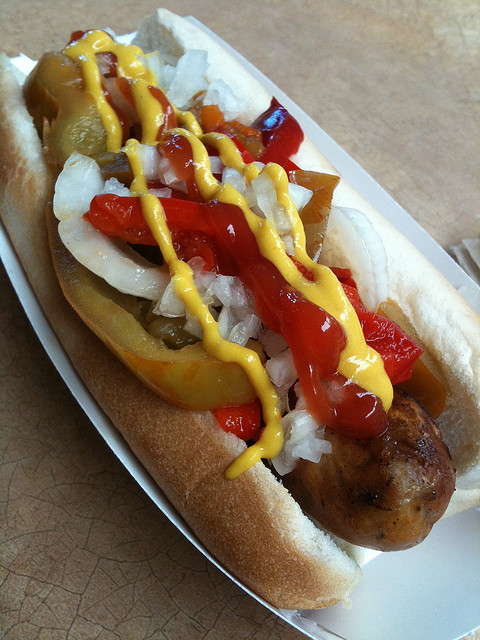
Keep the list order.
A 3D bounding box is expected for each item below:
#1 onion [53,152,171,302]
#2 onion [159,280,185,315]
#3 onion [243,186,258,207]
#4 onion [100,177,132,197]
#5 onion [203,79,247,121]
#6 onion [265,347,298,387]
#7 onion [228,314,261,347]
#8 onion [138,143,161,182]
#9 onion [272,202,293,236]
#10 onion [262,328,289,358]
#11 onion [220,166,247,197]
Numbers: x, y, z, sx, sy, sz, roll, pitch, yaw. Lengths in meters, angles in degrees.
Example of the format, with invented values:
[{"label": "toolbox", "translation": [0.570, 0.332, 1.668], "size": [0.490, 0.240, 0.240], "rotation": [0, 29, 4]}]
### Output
[{"label": "onion", "translation": [-0.257, -0.167, 1.187], "size": [0.282, 0.189, 0.063], "rotation": [50, 38, 15]}, {"label": "onion", "translation": [-0.116, -0.034, 1.108], "size": [0.032, 0.044, 0.048], "rotation": [-26, 72, -27]}, {"label": "onion", "translation": [0.019, -0.215, 1.161], "size": [0.013, 0.034, 0.031], "rotation": [-8, 69, -10]}, {"label": "onion", "translation": [-0.226, -0.234, 1.208], "size": [0.054, 0.014, 0.042], "rotation": [2, 53, -2]}, {"label": "onion", "translation": [-0.036, -0.525, 1.584], "size": [0.113, 0.042, 0.094], "rotation": [53, 33, 1]}, {"label": "onion", "translation": [0.078, 0.081, 1.107], "size": [0.053, 0.018, 0.064], "rotation": [-2, 75, -5]}, {"label": "onion", "translation": [0.007, 0.017, 1.122], "size": [0.034, 0.024, 0.065], "rotation": [33, 57, 4]}, {"label": "onion", "translation": [-0.171, -0.298, 1.251], "size": [0.043, 0.024, 0.067], "rotation": [-12, 78, -12]}, {"label": "onion", "translation": [0.070, -0.174, 1.139], "size": [0.033, 0.017, 0.048], "rotation": [-15, 82, -12]}, {"label": "onion", "translation": [0.058, 0.040, 1.142], "size": [0.042, 0.012, 0.045], "rotation": [-10, 75, 3]}, {"label": "onion", "translation": [-0.009, -0.256, 1.211], "size": [0.047, 0.015, 0.061], "rotation": [-19, 64, -10]}]
